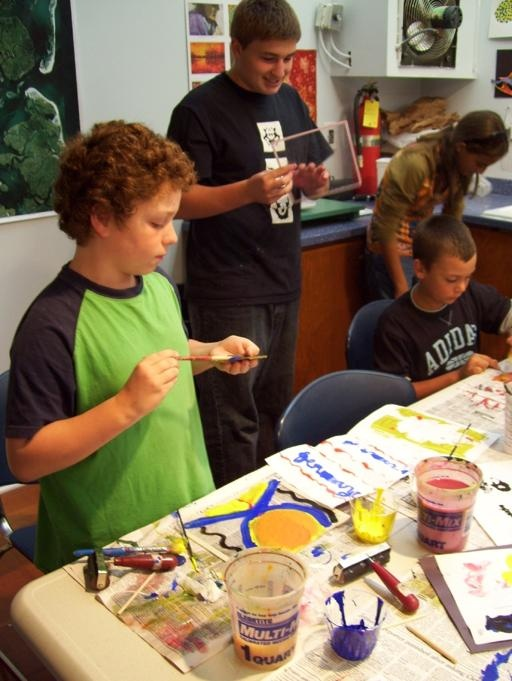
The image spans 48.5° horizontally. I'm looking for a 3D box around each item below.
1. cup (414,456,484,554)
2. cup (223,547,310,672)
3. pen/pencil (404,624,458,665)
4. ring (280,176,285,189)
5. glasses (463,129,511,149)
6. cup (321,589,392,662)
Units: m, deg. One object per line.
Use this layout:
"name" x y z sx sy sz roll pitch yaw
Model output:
"cup" 0.276 0.239 0.818 0.088 0.111 0.077 12 30 30
"cup" 0.012 0.298 0.651 0.107 0.108 0.109 0 30 0
"pen/pencil" 0.194 0.337 0.627 0.012 0.010 0.072 -38 42 -25
"ring" 0.071 -0.419 1.496 0.014 0.015 0.017 -4 -3 7
"glasses" 0.833 -0.703 2.020 0.089 0.031 0.109 -10 14 -21
"cup" 0.125 0.325 0.649 0.055 0.041 0.058 0 21 0
